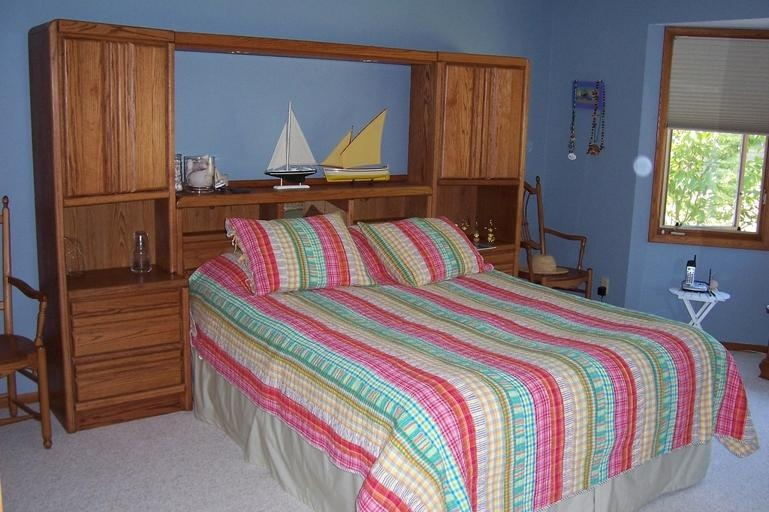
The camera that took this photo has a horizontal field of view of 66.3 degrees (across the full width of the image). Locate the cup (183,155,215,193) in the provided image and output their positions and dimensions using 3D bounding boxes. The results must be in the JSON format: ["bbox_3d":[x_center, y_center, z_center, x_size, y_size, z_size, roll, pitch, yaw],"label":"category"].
[{"bbox_3d":[-1.292,-0.599,4.339,0.266,0.276,0.256,2,2,0],"label":"cup"}]

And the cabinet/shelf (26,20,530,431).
[{"bbox_3d":[-0.859,-0.222,4.037,3.302,2.103,0.616,-3,7,-33],"label":"cabinet/shelf"}]
